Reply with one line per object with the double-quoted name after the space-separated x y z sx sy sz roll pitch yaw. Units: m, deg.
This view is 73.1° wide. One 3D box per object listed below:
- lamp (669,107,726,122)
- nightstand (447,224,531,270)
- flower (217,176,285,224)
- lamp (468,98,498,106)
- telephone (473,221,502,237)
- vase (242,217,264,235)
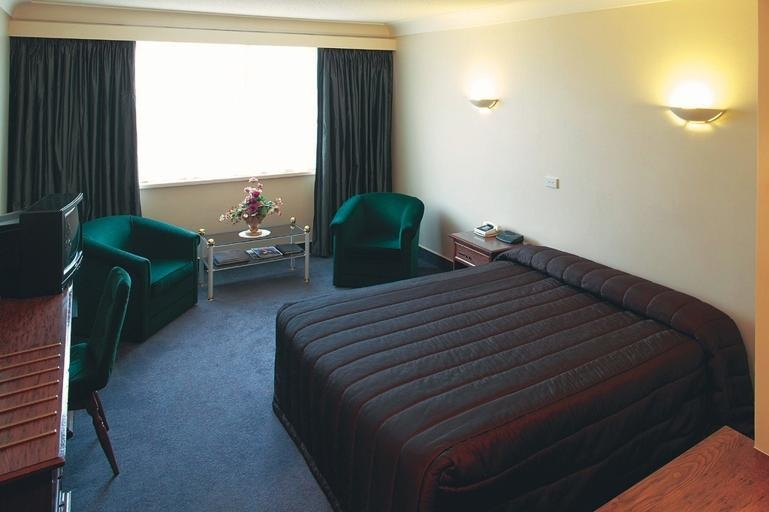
2.492 -1.136 4.157 0.116 0.121 0.434 -11 18 -33 "lamp"
1.170 -0.151 5.794 0.469 0.600 0.619 -9 19 -28 "nightstand"
-1.689 -0.627 6.665 0.740 0.493 0.734 2 3 -3 "flower"
1.135 -1.736 5.868 0.182 0.094 0.295 -10 18 -32 "lamp"
1.186 -0.299 5.908 0.197 0.089 0.194 -11 18 -34 "telephone"
-1.624 -0.378 6.448 0.220 0.180 0.219 0 4 -1 "vase"
